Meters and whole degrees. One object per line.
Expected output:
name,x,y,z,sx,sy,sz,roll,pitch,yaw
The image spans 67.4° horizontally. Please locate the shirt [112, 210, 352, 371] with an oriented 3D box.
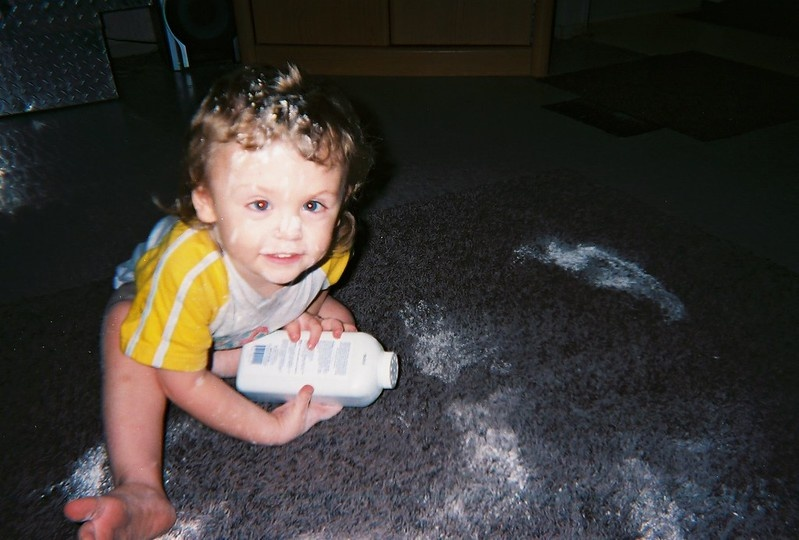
shirt,-0.427,0.063,1.360,0.401,0.395,0.183,6,58,-52
